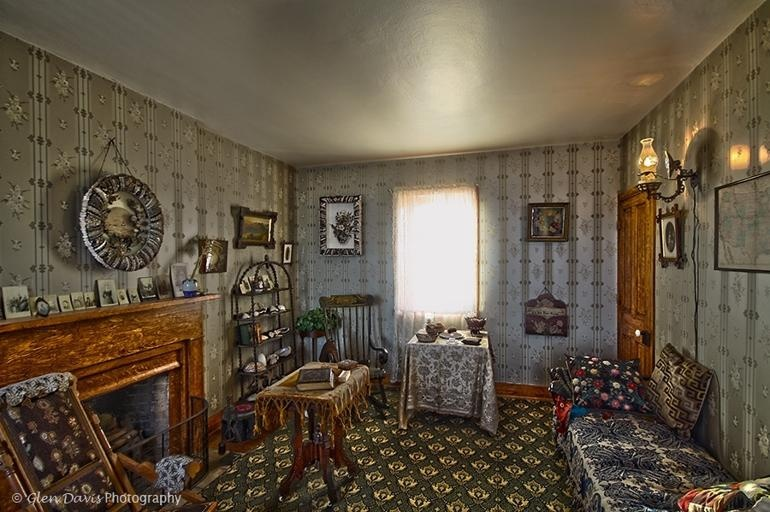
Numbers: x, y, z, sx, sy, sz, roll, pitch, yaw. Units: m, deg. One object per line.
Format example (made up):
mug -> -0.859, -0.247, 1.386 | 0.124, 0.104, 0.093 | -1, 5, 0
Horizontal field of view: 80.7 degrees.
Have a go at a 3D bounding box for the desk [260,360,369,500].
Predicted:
desk -> -0.651, 1.775, 4.619 | 0.845, 1.053, 1.331 | -2, -4, 15

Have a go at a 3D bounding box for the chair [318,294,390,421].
chair -> -0.389, 1.370, 6.164 | 0.900, 1.514, 1.132 | -3, 7, -27

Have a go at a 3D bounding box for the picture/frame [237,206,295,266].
picture/frame -> -1.655, -0.275, 6.202 | 0.077, 0.589, 0.833 | -1, -3, 21

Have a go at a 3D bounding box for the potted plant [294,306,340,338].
potted plant -> -0.869, 0.937, 6.377 | 0.657, 0.444, 0.708 | 0, -1, -19

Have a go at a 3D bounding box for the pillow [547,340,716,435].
pillow -> 2.416, 1.314, 4.527 | 1.020, 0.475, 0.940 | 0, 37, 24

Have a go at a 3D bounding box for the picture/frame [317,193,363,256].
picture/frame -> -0.634, -0.470, 6.770 | 0.848, 1.128, 0.097 | -1, -2, 16

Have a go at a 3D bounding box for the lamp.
lamp -> 2.758, -0.860, 4.490 | 0.459, 0.590, 0.410 | -2, 8, 18
